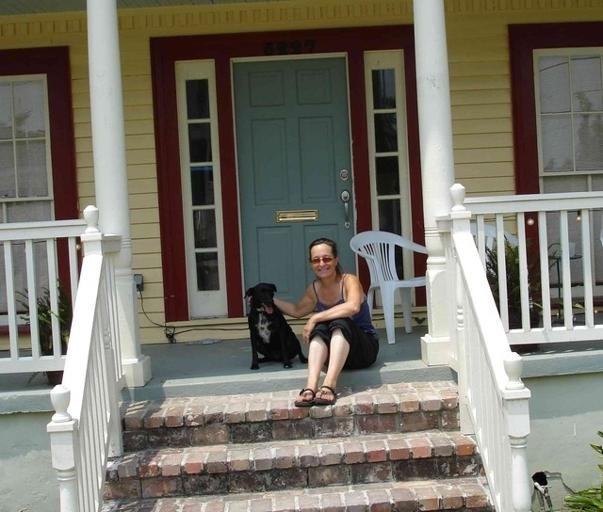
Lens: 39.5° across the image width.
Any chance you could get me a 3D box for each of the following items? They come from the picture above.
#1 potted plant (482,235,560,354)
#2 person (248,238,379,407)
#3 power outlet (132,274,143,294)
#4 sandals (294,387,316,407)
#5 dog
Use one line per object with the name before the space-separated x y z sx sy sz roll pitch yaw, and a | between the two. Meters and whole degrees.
potted plant | 1.703 0.260 6.387 0.515 0.802 1.485 -3 3 17
person | 0.207 0.417 5.850 0.646 1.067 0.911 -4 3 0
power outlet | -1.439 0.244 7.382 0.070 0.178 0.128 -4 3 4
sandals | 0.023 0.926 5.462 0.139 0.115 0.089 -5 3 1
dog | -0.210 0.522 6.332 0.360 0.623 0.930 -5 -2 10
